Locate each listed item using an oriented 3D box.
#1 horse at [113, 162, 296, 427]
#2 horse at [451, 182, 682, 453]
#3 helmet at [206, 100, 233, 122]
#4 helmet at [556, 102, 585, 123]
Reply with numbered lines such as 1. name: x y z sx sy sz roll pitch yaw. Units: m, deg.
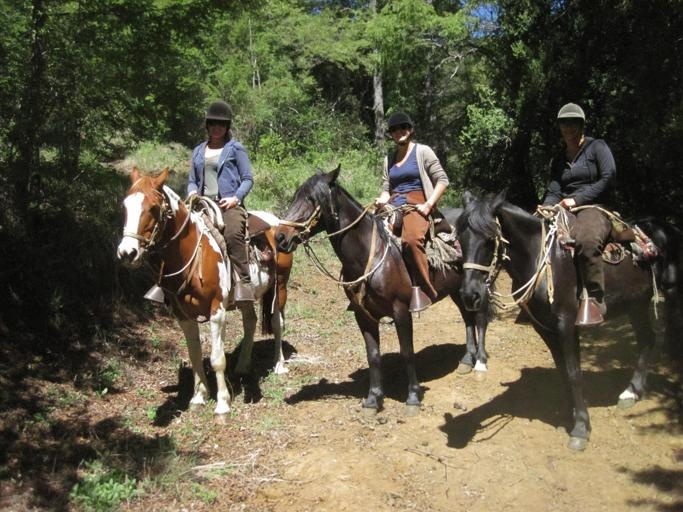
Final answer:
1. horse: -1.965 0.392 9.678 1.001 3.609 2.917 4 13 32
2. horse: 3.356 0.753 9.240 3.652 3.364 1.144 -6 11 -17
3. helmet: -1.860 -2.207 9.752 0.375 0.307 0.250 -6 12 -15
4. helmet: 3.325 -2.050 9.246 0.273 0.222 0.426 3 9 21
